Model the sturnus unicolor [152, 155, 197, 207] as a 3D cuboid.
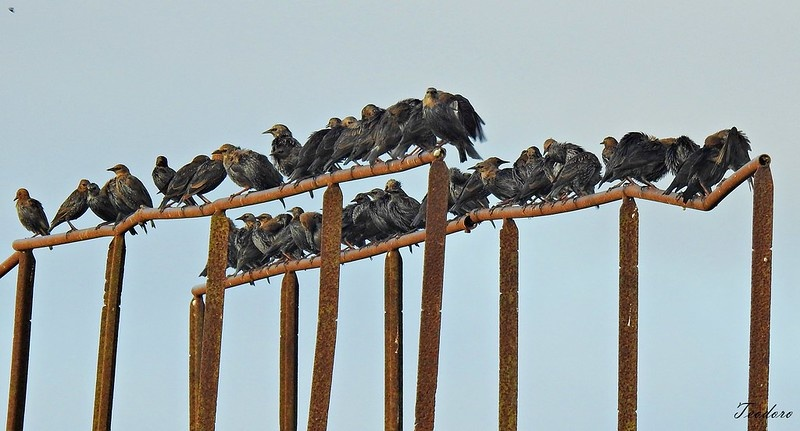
[{"bbox_3d":[-3.615,-0.446,29.399,0.496,1.003,0.802,-8,-57,-11],"label":"sturnus unicolor"}]
